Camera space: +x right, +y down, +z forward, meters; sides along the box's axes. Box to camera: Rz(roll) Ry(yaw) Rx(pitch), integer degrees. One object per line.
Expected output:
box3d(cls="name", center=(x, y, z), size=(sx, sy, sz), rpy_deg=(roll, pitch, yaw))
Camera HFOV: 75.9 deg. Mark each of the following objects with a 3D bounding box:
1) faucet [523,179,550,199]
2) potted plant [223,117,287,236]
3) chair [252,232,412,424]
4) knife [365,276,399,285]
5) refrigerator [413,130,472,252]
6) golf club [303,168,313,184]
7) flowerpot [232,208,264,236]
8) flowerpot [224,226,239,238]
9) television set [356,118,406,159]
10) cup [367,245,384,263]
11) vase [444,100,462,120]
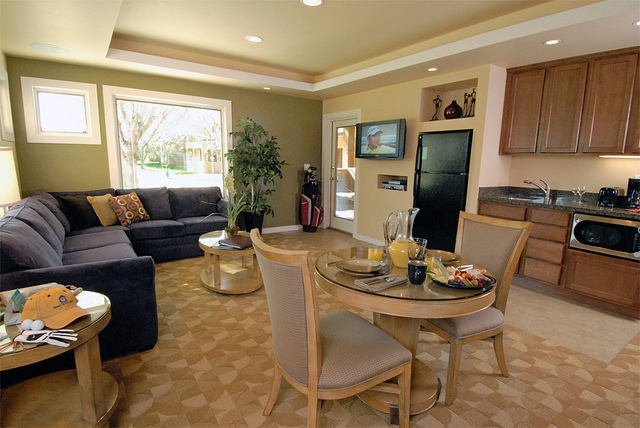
box3d(cls="faucet", center=(2.951, -0.338, 5.576), size=(0.282, 0.239, 0.453), rpy_deg=(6, 12, 27))
box3d(cls="potted plant", center=(-1.184, -0.617, 7.151), size=(0.801, 2.126, 1.227), rpy_deg=(7, 14, 26))
box3d(cls="chair", center=(0.089, 0.938, 3.351), size=(1.183, 1.572, 0.555), rpy_deg=(-3, 13, -13))
box3d(cls="knife", center=(0.496, 0.544, 3.338), size=(0.224, 0.022, 0.024), rpy_deg=(-8, 41, -27))
box3d(cls="refrigerator", center=(1.710, -0.338, 5.943), size=(0.280, 1.712, 0.828), rpy_deg=(-11, 17, -38))
box3d(cls="golf club", center=(-0.231, -0.733, 7.826), size=(0.248, 0.231, 0.180), rpy_deg=(0, 6, 24))
box3d(cls="flowerpot", center=(-1.195, 0.148, 7.257), size=(0.547, 0.513, 0.505), rpy_deg=(-1, -1, 25))
box3d(cls="flowerpot", center=(-1.170, 0.236, 5.425), size=(0.141, 0.094, 0.133), rpy_deg=(0, 5, -7))
box3d(cls="television set", center=(0.986, -1.217, 6.742), size=(0.122, 0.616, 1.109), rpy_deg=(-7, 11, -35))
box3d(cls="cup", center=(0.509, 0.359, 3.743), size=(0.141, 0.127, 0.137), rpy_deg=(-1, 5, 0))
box3d(cls="vase", center=(1.907, -1.484, 5.904), size=(0.276, 0.300, 0.271), rpy_deg=(-7, 11, -18))
